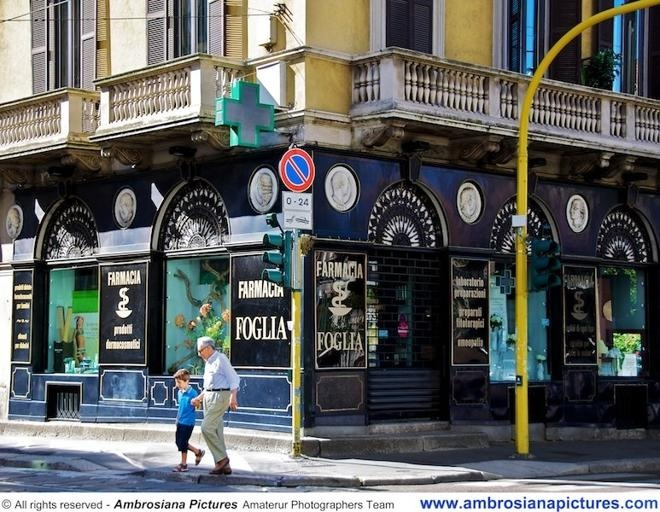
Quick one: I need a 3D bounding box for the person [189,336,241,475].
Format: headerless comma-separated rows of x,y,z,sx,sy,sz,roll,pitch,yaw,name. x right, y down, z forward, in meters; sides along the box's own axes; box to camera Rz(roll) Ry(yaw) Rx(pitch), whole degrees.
-2.108,2.844,23.400,0.892,2.876,1.035,9,-31,-21,person

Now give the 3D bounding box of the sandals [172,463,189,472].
-2.635,3.721,22.184,0.268,0.129,0.104,3,-6,9,sandals

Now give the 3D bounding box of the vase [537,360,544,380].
4.802,2.612,28.928,0.128,0.415,0.251,-4,-8,31,vase

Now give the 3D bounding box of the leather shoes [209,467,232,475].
-1.898,3.696,21.847,0.295,0.135,0.143,3,-7,-4,leather shoes

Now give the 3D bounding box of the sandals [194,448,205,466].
-2.355,3.567,22.635,0.156,0.394,0.135,12,4,-36,sandals

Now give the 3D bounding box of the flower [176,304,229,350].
-2.706,1.673,27.218,1.069,1.081,0.869,0,2,0,flower

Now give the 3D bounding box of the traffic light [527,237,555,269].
4.209,-0.034,25.011,0.445,0.661,0.805,1,-7,-8,traffic light

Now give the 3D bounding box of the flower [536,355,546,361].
4.850,2.329,29.047,0.239,0.150,0.059,3,-8,-27,flower

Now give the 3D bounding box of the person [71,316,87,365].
-5.840,1.990,29.382,0.269,1.272,0.317,-2,-4,12,person

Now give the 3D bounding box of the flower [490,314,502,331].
3.700,1.479,28.201,0.289,0.319,0.299,3,-10,-11,flower

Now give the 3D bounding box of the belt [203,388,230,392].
-1.958,2.327,21.998,0.391,0.057,0.094,1,-7,-9,belt

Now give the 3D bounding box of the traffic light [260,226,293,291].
-0.976,0.063,23.061,0.826,1.024,0.362,6,-9,-43,traffic light
